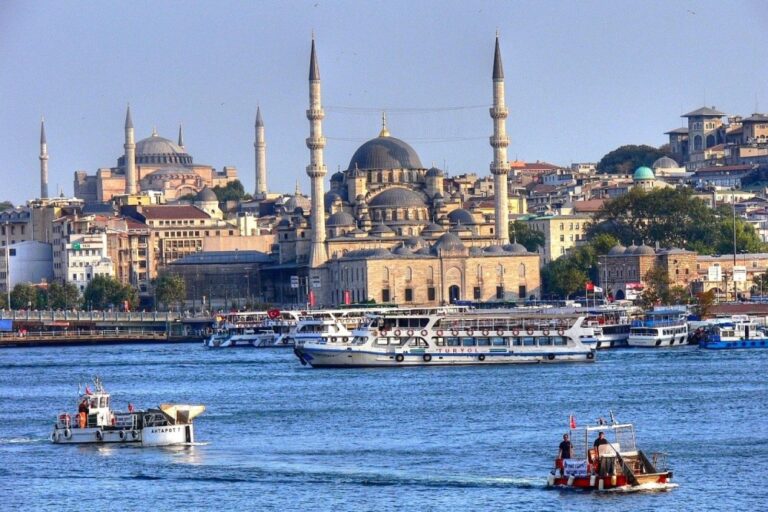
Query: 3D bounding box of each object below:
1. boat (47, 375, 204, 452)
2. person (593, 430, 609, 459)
[{"bbox_3d":[-10.762,6.758,88.336,5.739,2.743,1.429,-2,-3,-1],"label":"boat"},{"bbox_3d":[8.350,7.327,81.496,0.555,0.953,1.282,-2,-3,6],"label":"person"}]
